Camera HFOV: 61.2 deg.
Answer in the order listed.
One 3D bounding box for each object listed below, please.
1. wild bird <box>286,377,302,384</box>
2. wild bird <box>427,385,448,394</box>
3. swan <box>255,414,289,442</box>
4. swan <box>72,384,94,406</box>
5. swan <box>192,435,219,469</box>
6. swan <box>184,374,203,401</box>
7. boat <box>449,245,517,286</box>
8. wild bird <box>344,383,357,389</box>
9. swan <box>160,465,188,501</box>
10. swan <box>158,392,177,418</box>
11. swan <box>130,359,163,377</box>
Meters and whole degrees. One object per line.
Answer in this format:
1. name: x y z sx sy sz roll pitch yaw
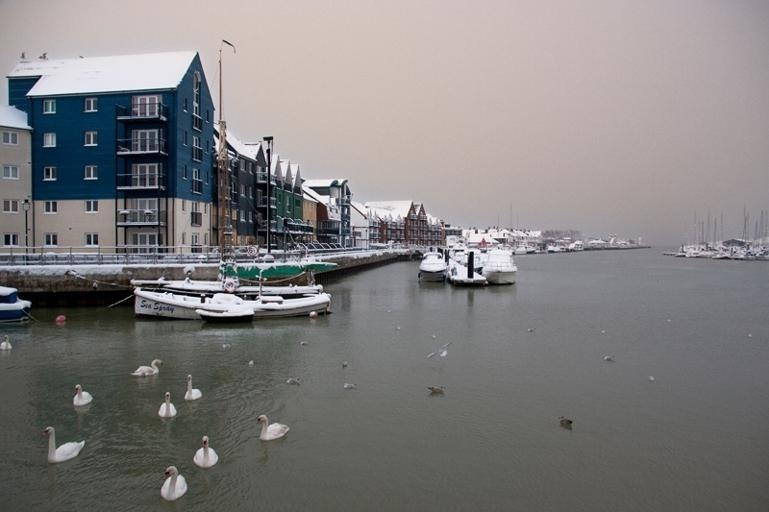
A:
1. wild bird: -4.746 6.530 33.943 0.861 0.235 0.584 2 5 9
2. wild bird: 2.682 6.816 33.231 0.889 0.651 0.341 4 0 -3
3. swan: -5.466 7.866 29.932 1.874 1.455 0.780 6 -4 -37
4. swan: -14.945 6.778 32.098 0.939 1.007 1.014 0 5 -15
5. swan: -7.810 8.403 28.370 1.083 1.389 0.819 -1 5 -19
6. swan: -9.492 6.493 32.286 0.862 1.195 0.626 -1 5 -18
7. boat: 12.043 0.888 79.690 7.212 3.705 19.595 2 5 9
8. wild bird: -1.784 6.713 33.696 0.604 0.184 0.550 0 5 -9
9. swan: -8.792 9.391 27.151 1.090 1.345 0.628 -1 5 -21
10. swan: -10.372 7.044 30.977 0.861 1.160 0.761 0 5 -13
11. swan: -12.791 6.042 35.084 1.823 1.272 0.736 -2 3 -22
